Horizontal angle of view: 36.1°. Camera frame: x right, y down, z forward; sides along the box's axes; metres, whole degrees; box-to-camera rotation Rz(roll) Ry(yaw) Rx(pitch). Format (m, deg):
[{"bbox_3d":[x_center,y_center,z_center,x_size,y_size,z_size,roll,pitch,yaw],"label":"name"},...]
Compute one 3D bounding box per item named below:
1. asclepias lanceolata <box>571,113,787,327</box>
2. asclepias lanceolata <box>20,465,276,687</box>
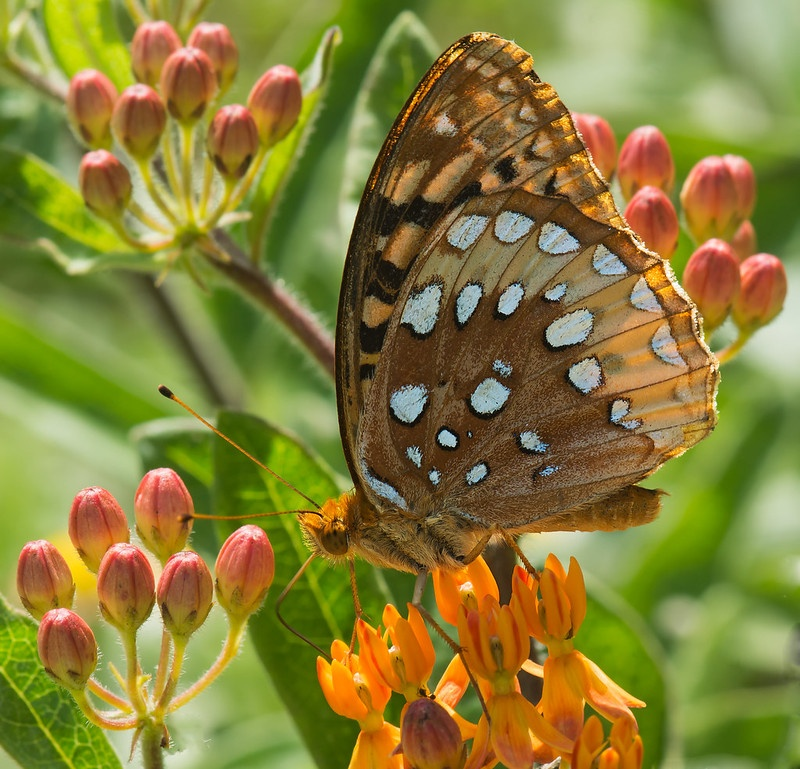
[{"bbox_3d":[0.616,-0.347,2.699,0.245,0.501,0.324,-19,63,32],"label":"asclepias lanceolata"},{"bbox_3d":[-0.488,0.403,2.321,0.444,0.343,0.334,-31,34,-32],"label":"asclepias lanceolata"}]
